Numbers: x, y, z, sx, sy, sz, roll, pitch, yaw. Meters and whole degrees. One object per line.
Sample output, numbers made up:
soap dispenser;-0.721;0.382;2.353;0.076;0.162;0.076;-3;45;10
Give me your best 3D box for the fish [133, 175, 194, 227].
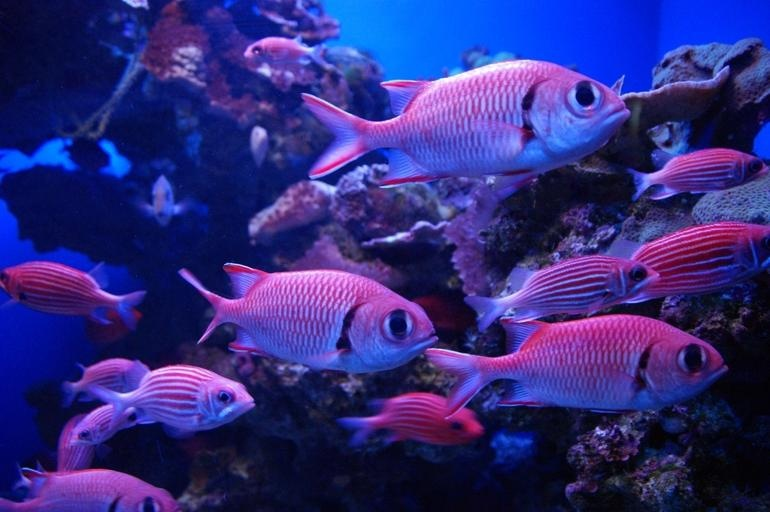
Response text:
fish;-1.858;-0.457;7.630;0.303;0.274;0.489;-1;-6;-5
